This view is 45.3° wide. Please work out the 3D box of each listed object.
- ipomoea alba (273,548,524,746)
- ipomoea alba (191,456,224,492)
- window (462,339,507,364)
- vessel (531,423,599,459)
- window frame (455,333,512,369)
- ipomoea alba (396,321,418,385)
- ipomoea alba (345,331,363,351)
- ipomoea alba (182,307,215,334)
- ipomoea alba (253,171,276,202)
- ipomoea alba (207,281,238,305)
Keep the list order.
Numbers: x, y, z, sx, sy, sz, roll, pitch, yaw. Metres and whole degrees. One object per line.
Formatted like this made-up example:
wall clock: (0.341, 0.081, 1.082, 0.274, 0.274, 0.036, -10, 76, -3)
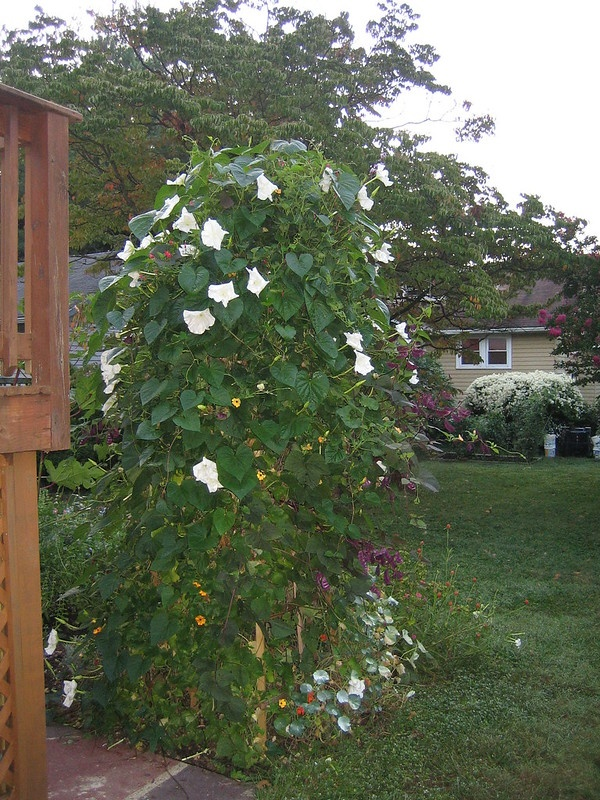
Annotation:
ipomoea alba: (0.379, 1.027, 3.035, 0.733, 0.444, 1.010, -3, 1, 11)
ipomoea alba: (-0.280, 0.227, 2.190, 0.056, 0.102, 0.079, 1, 3, 27)
window: (3.909, -1.020, 14.961, 1.035, 0.614, 0.078, 0, -3, 5)
vessel: (4.682, 0.743, 12.511, 1.003, 0.500, 0.689, 0, -3, 13)
window frame: (3.924, -1.040, 15.030, 1.155, 0.688, 0.081, -1, 5, 8)
ipomoea alba: (0.403, -0.188, 2.774, 0.110, 0.240, 0.064, 8, -21, -38)
ipomoea alba: (0.188, -0.202, 2.454, 0.066, 0.059, 0.028, -4, 7, 31)
ipomoea alba: (-0.315, -0.245, 2.224, 0.088, 0.075, 0.043, 19, 16, -23)
ipomoea alba: (-0.114, -0.687, 2.312, 0.088, 0.076, 0.026, -6, 13, -35)
ipomoea alba: (-0.245, -0.329, 2.225, 0.081, 0.078, 0.039, -26, 30, 3)
